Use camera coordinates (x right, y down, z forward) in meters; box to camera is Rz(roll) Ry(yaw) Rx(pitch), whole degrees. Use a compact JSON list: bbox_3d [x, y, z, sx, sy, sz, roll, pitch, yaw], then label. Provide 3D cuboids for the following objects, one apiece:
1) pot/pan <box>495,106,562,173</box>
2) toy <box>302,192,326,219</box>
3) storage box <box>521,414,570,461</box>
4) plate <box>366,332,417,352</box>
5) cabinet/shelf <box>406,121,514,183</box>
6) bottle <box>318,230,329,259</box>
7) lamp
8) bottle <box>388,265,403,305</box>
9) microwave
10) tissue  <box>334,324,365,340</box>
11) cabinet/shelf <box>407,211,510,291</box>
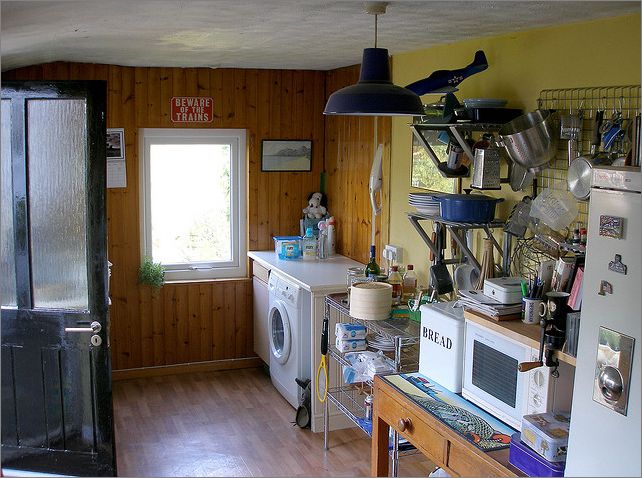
[{"bbox_3d":[1.154,-0.510,2.750,0.341,0.273,0.317,-23,9,11],"label":"pot/pan"},{"bbox_3d":[-0.052,-0.345,5.321,0.246,0.265,0.183,-2,10,-14],"label":"toy"},{"bbox_3d":[0.908,0.763,1.999,0.164,0.090,0.233,-3,4,-12],"label":"storage box"},{"bbox_3d":[0.459,0.650,3.257,0.181,0.039,0.186,3,4,36],"label":"plate"},{"bbox_3d":[0.840,-0.516,3.177,0.463,0.393,0.870,-4,11,-20],"label":"cabinet/shelf"},{"bbox_3d":[0.026,0.061,4.950,0.092,0.230,0.122,0,10,1],"label":"bottle"},{"bbox_3d":[0.269,-0.836,2.377,0.361,0.509,0.407,10,14,43],"label":"lamp"},{"bbox_3d":[0.533,0.320,3.627,0.105,0.241,0.273,2,10,9],"label":"bottle"},{"bbox_3d":[0.897,0.594,2.354,0.267,0.448,0.463,-10,16,-34],"label":"microwave"},{"bbox_3d":[0.196,0.622,3.529,0.137,0.073,0.108,1,4,-16],"label":"tissue "},{"bbox_3d":[0.866,0.041,3.194,0.406,0.576,0.774,-9,11,-10],"label":"cabinet/shelf"}]
